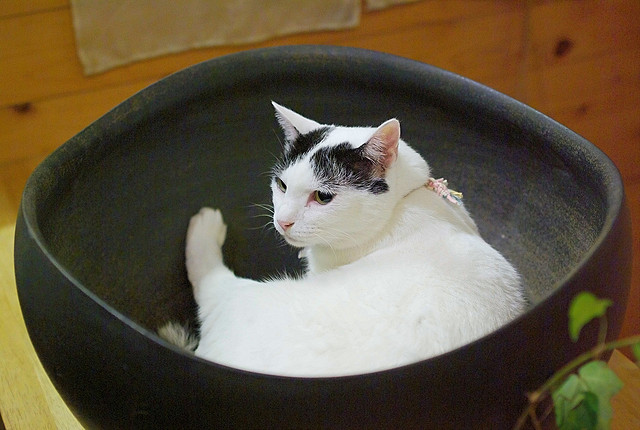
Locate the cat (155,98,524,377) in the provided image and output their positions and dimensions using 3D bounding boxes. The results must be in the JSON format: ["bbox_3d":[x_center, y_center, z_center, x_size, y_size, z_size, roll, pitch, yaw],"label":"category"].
[{"bbox_3d":[0.042,0.158,1.706,0.851,0.403,0.799,-3,55,-8],"label":"cat"}]
